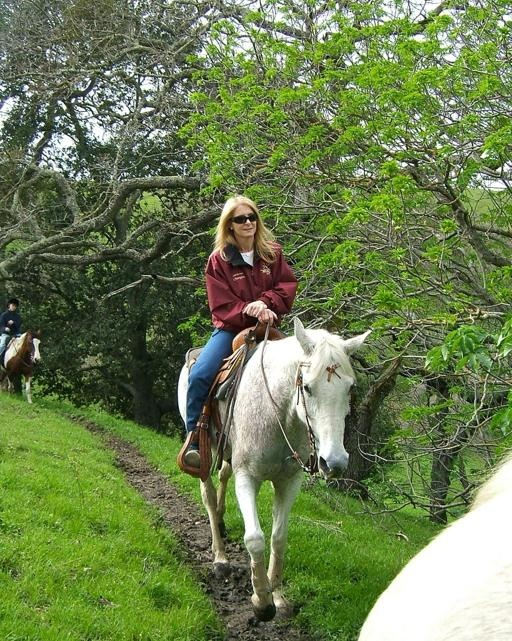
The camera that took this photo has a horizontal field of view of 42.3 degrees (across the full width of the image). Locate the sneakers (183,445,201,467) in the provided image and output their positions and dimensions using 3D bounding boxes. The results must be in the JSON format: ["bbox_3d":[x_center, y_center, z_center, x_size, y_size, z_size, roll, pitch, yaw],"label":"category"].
[{"bbox_3d":[-0.486,1.040,5.045,0.113,0.153,0.110,5,21,8],"label":"sneakers"}]

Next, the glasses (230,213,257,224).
[{"bbox_3d":[-0.083,-0.787,5.121,0.198,0.071,0.112,-9,3,-3],"label":"glasses"}]
